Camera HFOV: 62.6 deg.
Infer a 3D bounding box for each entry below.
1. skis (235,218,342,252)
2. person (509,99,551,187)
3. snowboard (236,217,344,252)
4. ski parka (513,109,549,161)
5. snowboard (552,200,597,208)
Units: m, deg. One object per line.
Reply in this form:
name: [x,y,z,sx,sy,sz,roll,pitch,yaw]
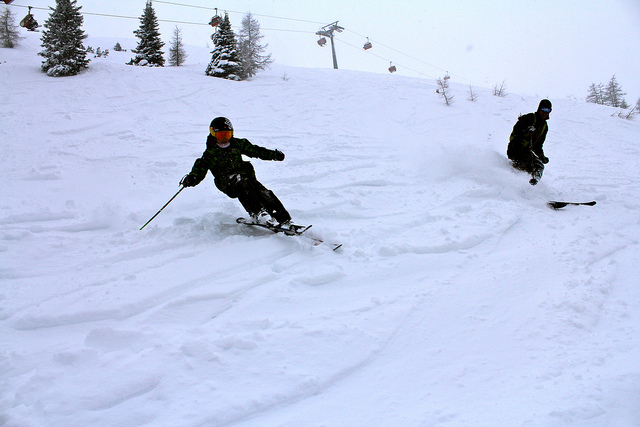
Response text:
skis: [-0.680,0.425,10.267,1.598,0.273,0.187,13,59,0]
person: [5.627,-1.930,13.803,0.839,2.108,1.195,3,17,-12]
snowboard: [-0.585,0.365,10.374,2.097,0.397,0.415,10,17,20]
ski parka: [5.537,-2.125,14.014,1.165,1.196,0.513,7,18,-33]
snowboard: [6.002,-0.230,12.391,1.175,0.103,0.169,-1,10,36]
